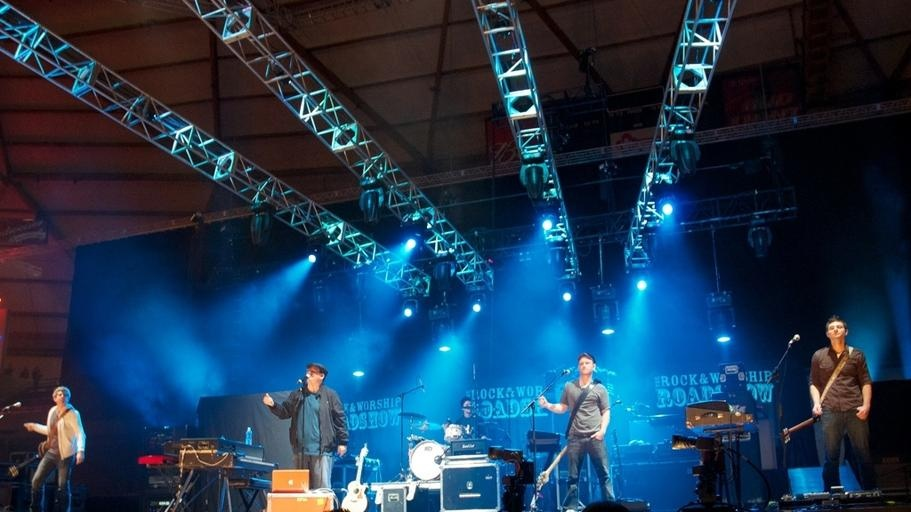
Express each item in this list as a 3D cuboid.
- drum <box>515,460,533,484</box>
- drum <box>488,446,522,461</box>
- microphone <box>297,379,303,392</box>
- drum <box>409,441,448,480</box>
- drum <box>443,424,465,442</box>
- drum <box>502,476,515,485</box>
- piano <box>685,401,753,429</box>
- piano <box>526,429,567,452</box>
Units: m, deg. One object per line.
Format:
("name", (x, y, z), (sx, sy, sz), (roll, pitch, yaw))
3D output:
("drum", (1.482, 4.714, 16.879), (0.420, 0.506, 0.215), (-8, 11, -2))
("drum", (1.096, 4.404, 17.032), (0.422, 0.157, 0.448), (14, -15, 4))
("microphone", (-3.700, 3.086, 18.412), (0.219, 0.302, 0.118), (-3, 7, 6))
("drum", (-0.759, 5.427, 20.476), (1.015, 0.910, 0.584), (-3, 11, 20))
("drum", (-0.100, 4.824, 21.085), (0.517, 0.455, 0.510), (-4, -18, 7))
("drum", (1.132, 4.870, 16.748), (0.197, 0.167, 0.198), (0, -11, 1))
("piano", (5.644, 3.513, 16.881), (0.904, 0.370, 0.819), (-6, -16, 20))
("piano", (2.287, 4.887, 20.286), (0.749, 0.338, 0.976), (-2, -16, 8))
